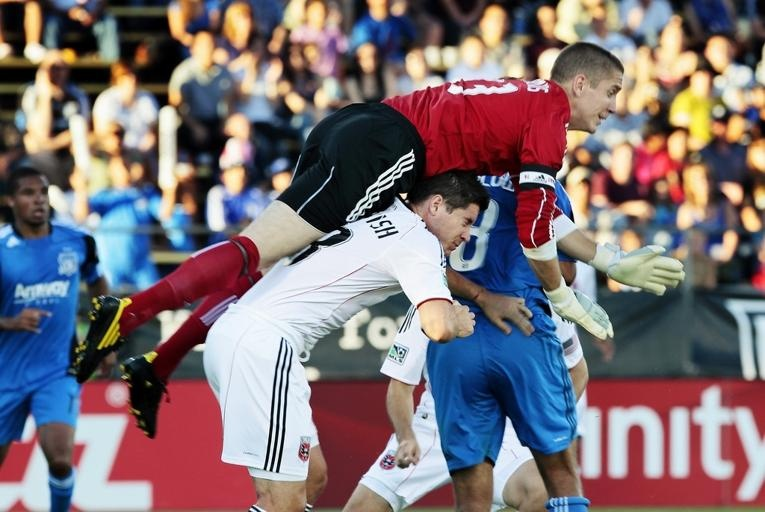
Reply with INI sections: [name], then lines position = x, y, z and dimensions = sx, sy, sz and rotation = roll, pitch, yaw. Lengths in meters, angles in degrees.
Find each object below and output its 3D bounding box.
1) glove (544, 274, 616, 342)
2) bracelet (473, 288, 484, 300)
[glove]
position = 1.650, 0.447, 9.712
dimensions = 0.642, 0.193, 0.396
rotation = 49, 22, -22
[bracelet]
position = 0.797, 0.328, 9.658
dimensions = 0.061, 0.062, 0.068
rotation = -20, 32, 0
